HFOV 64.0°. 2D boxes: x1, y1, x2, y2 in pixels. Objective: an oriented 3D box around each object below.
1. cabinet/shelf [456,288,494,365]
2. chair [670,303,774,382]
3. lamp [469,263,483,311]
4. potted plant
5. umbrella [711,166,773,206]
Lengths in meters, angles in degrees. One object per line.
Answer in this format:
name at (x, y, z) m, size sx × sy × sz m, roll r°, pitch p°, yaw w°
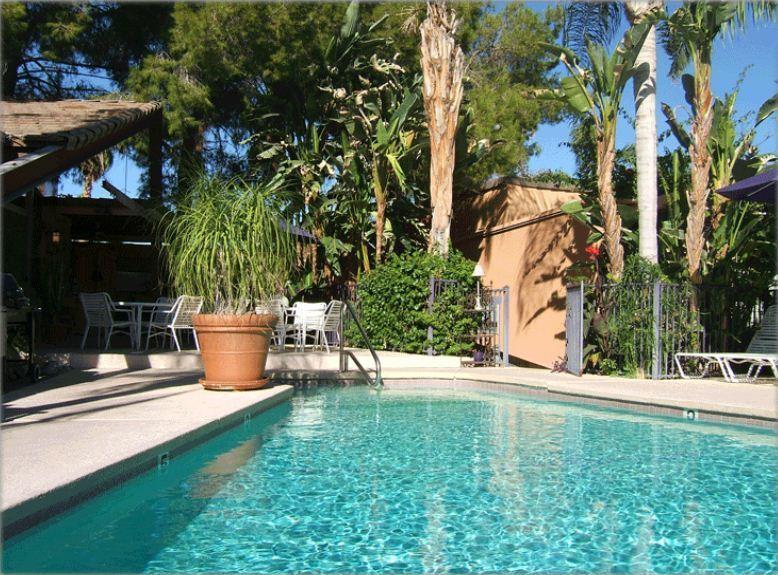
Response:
cabinet/shelf at (1.992, 0.822, 13.890) m, size 0.809 × 1.611 × 1.490 m, roll 4°, pitch 7°, yaw 22°
chair at (6.161, 1.001, 11.255) m, size 1.919 × 1.393 × 1.277 m, roll 3°, pitch -8°, yaw -9°
lamp at (1.922, -0.023, 13.959) m, size 0.225 × 0.979 × 0.972 m, roll 2°, pitch 7°, yaw 8°
potted plant at (-2.165, 0.047, 9.664) m, size 2.312 × 3.614 × 2.558 m, roll -2°, pitch -3°, yaw 22°
umbrella at (6.236, -1.781, 10.901) m, size 0.814 × 0.524 × 1.289 m, roll 5°, pitch 7°, yaw 31°
